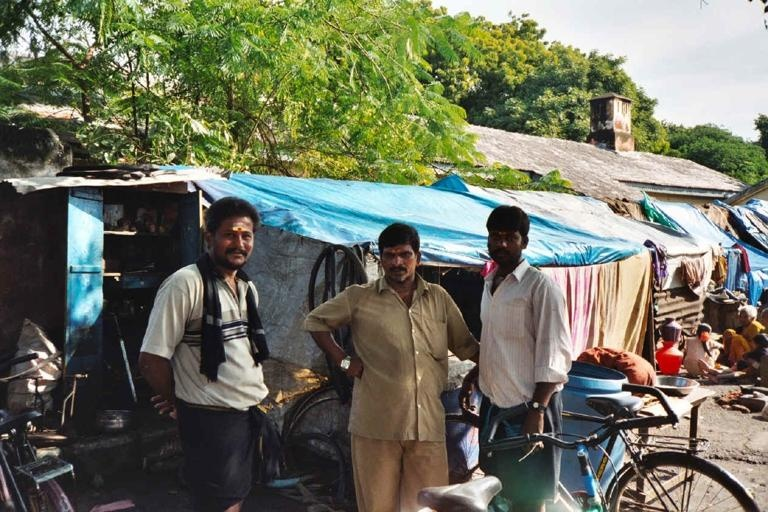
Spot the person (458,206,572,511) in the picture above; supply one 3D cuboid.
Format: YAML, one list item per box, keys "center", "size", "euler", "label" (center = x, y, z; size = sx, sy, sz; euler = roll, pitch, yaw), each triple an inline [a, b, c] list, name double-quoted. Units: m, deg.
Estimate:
- center: [1.477, 1.088, 8.929]
  size: [1.015, 3.235, 0.658]
  euler: [1, 5, 14]
  label: "person"

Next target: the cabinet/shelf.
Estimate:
- center: [-3.470, 0.321, 11.919]
  size: [1.423, 1.309, 0.442]
  euler: [1, -4, -43]
  label: "cabinet/shelf"
